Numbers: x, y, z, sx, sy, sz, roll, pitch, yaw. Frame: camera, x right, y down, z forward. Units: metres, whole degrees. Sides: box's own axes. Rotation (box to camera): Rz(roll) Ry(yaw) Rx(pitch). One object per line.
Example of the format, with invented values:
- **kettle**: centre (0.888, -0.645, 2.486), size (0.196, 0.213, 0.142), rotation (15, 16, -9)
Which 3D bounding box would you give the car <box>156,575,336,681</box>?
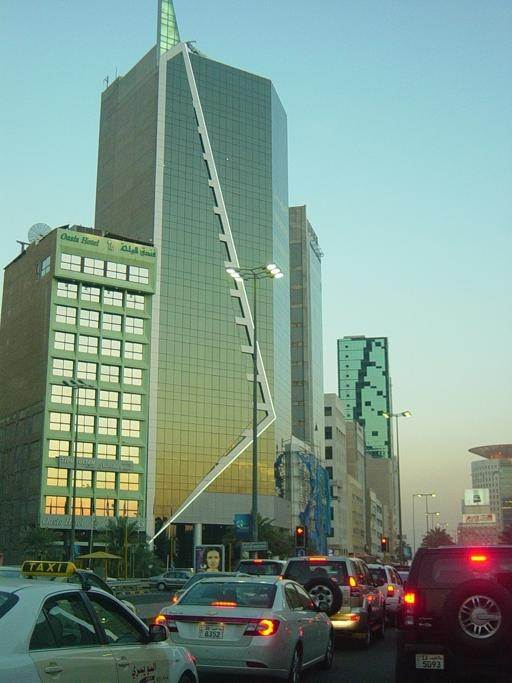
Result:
- **car**: centre (-0.008, 3.574, 10.261), size (1.354, 0.915, 2.950), rotation (-3, -12, 17)
